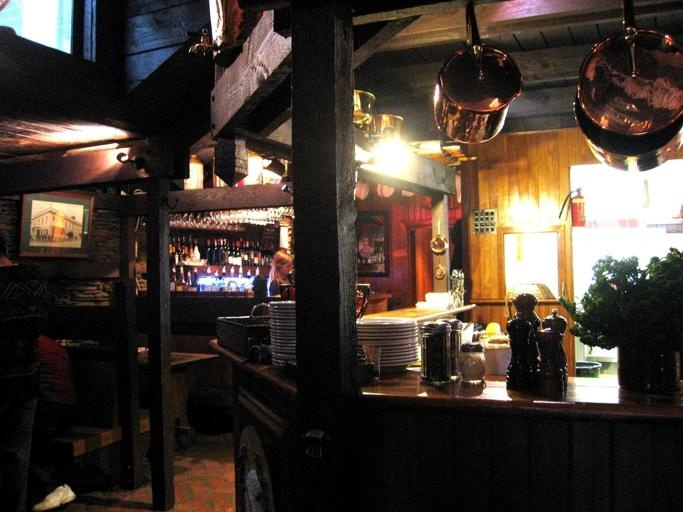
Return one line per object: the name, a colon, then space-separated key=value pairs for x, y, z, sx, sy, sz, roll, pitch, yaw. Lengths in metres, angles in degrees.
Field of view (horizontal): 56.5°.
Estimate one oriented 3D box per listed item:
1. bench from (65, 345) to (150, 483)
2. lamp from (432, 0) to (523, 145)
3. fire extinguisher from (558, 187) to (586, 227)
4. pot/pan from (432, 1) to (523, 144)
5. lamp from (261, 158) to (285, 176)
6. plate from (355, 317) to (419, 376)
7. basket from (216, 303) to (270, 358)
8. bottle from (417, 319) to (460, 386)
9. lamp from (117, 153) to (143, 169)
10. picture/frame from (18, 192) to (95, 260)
bench: x=-1.963 y=1.336 z=5.389 sx=0.605 sy=1.168 sz=0.732 roll=-6 pitch=5 yaw=-19
lamp: x=0.592 y=-0.733 z=2.838 sx=0.390 sy=0.618 sz=0.528 roll=-3 pitch=-10 yaw=6
fire extinguisher: x=2.813 y=-0.602 z=7.780 sx=0.287 sy=0.459 sz=0.451 roll=-4 pitch=5 yaw=8
pot/pan: x=0.591 y=-0.753 z=2.829 sx=0.389 sy=0.619 sz=0.528 roll=-3 pitch=-10 yaw=6
lamp: x=-0.485 y=-0.658 z=4.691 sx=0.160 sy=0.121 sz=0.394 roll=-5 pitch=6 yaw=-4
plate: x=0.209 y=0.432 z=3.076 sx=0.252 sy=0.146 sz=0.249 roll=0 pitch=-2 yaw=-44
basket: x=-0.491 y=0.406 z=3.449 sx=0.289 sy=0.196 sz=0.281 roll=0 pitch=-1 yaw=-41
bottle: x=0.432 y=0.420 z=2.819 sx=0.145 sy=0.259 sz=0.227 roll=-1 pitch=6 yaw=36
lamp: x=-1.720 y=-0.785 z=5.221 sx=0.216 sy=0.148 sz=0.083 roll=-2 pitch=6 yaw=23
picture/frame: x=-3.359 y=-0.358 z=7.515 sx=0.039 sy=0.782 sz=1.090 roll=3 pitch=0 yaw=19
